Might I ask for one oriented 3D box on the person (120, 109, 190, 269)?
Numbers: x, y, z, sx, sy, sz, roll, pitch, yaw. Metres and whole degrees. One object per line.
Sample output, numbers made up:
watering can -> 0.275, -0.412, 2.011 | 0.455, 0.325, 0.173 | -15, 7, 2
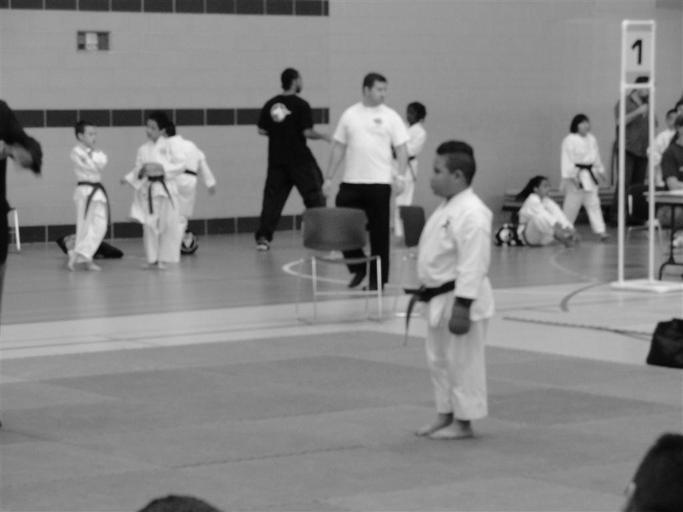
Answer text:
person -> -2.475, -0.734, 11.745 | 0.753, 1.727, 0.517 | -1, 10, -5

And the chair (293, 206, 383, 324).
chair -> 0.021, 0.100, 8.998 | 0.860, 1.127, 0.903 | -2, 4, -24

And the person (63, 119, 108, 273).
person -> -3.307, -0.782, 11.434 | 0.496, 1.892, 0.518 | -2, 10, -9

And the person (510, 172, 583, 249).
person -> 3.279, -0.703, 14.221 | 0.877, 1.078, 0.871 | 0, 10, 1

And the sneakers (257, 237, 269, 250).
sneakers -> -1.179, -0.174, 13.236 | 0.124, 0.179, 0.183 | 0, -8, -4

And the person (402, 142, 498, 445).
person -> 0.650, 0.204, 5.152 | 0.475, 1.715, 0.448 | 8, 12, 38
